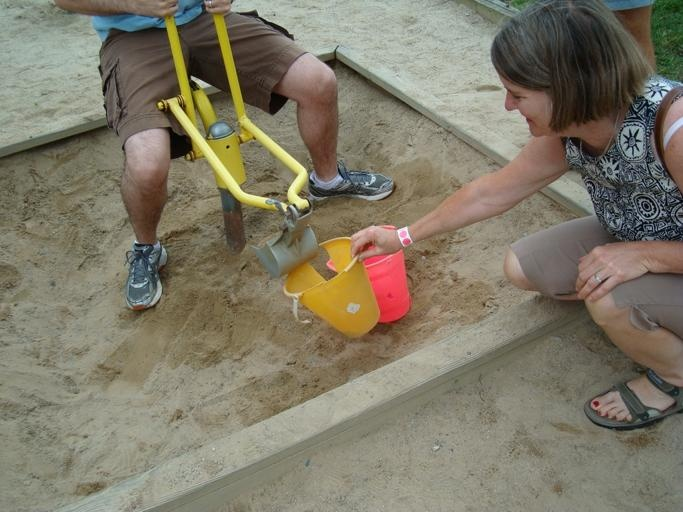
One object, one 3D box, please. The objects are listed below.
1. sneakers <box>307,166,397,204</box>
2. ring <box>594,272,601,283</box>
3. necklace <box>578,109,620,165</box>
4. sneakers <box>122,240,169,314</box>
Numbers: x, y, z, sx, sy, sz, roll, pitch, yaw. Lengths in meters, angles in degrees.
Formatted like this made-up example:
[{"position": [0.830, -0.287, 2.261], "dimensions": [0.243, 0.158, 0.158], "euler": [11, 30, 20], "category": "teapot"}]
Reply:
[{"position": [0.075, -0.361, 3.359], "dimensions": [0.481, 0.204, 0.182], "euler": [-2, 58, 4], "category": "sneakers"}, {"position": [0.909, 0.079, 2.210], "dimensions": [0.023, 0.028, 0.023], "euler": [0, 87, -5], "category": "ring"}, {"position": [0.883, -0.406, 2.113], "dimensions": [0.110, 0.122, 0.097], "euler": [21, 27, -27], "category": "necklace"}, {"position": [-0.915, 0.104, 2.917], "dimensions": [0.151, 0.167, 0.351], "euler": [-1, 52, -12], "category": "sneakers"}]
